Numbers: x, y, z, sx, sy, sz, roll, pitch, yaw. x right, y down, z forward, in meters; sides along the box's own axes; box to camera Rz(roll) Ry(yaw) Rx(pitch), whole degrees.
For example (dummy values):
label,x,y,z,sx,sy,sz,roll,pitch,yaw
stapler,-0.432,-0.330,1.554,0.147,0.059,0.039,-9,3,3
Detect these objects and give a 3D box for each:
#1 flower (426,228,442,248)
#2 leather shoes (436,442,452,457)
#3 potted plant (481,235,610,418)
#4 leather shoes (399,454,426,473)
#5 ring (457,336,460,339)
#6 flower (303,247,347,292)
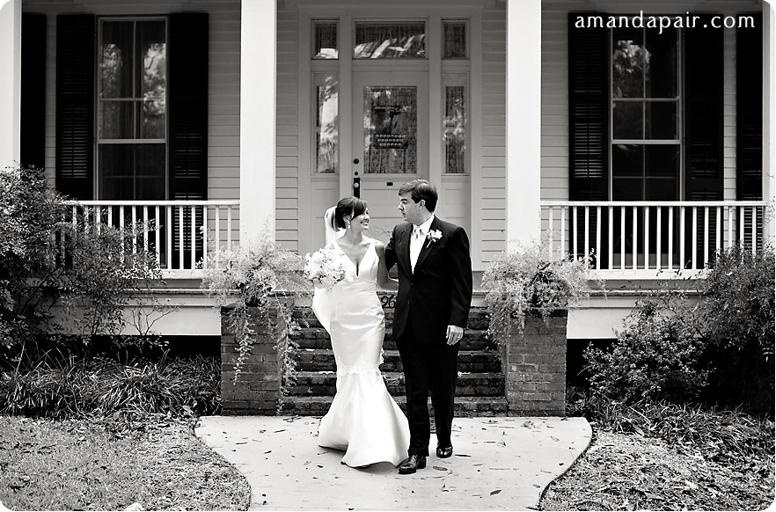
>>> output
label,x,y,z,sx,sy,sz,roll,pitch,yaw
flower,0.563,-0.217,13.068,0.183,0.201,0.051,-1,1,-10
leather shoes,0.685,2.396,13.337,0.154,0.136,0.325,0,-7,5
potted plant,1.985,0.983,14.813,1.388,2.390,0.677,0,1,5
leather shoes,0.268,2.521,13.040,0.143,0.164,0.389,-9,-10,41
ring,0.832,0.976,12.938,0.032,0.030,0.007,4,3,-5
flower,-0.773,0.149,13.423,0.489,0.499,0.267,-6,-8,2
